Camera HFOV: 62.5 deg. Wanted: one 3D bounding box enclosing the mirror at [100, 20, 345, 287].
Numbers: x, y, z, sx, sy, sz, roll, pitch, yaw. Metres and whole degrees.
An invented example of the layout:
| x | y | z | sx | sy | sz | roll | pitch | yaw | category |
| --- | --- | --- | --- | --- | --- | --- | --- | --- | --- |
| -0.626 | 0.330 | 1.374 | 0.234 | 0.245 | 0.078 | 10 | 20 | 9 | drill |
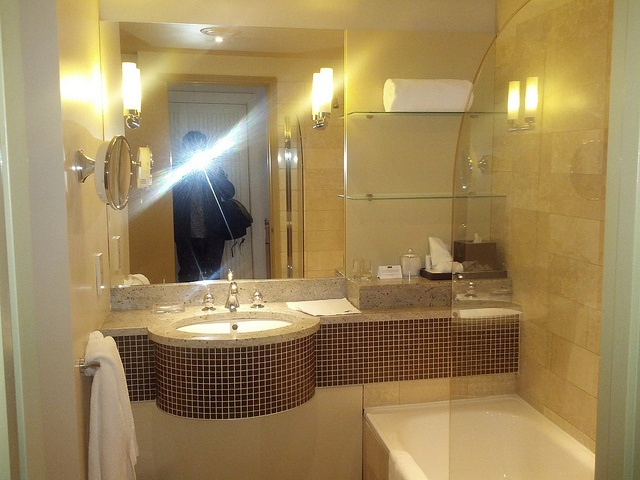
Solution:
| x | y | z | sx | sy | sz | roll | pitch | yaw | category |
| --- | --- | --- | --- | --- | --- | --- | --- | --- | --- |
| -0.544 | -0.488 | 2.690 | 1.274 | 1.622 | 0.106 | -1 | 10 | -7 | mirror |

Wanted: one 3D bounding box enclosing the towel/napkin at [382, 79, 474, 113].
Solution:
| x | y | z | sx | sy | sz | roll | pitch | yaw | category |
| --- | --- | --- | --- | --- | --- | --- | --- | --- | --- |
| 0.551 | -0.744 | 2.724 | 0.442 | 0.178 | 0.166 | -1 | 6 | 3 | towel/napkin |

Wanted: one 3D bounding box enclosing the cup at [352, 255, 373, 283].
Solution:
| x | y | z | sx | sy | sz | roll | pitch | yaw | category |
| --- | --- | --- | --- | --- | --- | --- | --- | --- | --- |
| 0.227 | 0.168 | 2.850 | 0.103 | 0.115 | 0.102 | 2 | -1 | 0 | cup |
